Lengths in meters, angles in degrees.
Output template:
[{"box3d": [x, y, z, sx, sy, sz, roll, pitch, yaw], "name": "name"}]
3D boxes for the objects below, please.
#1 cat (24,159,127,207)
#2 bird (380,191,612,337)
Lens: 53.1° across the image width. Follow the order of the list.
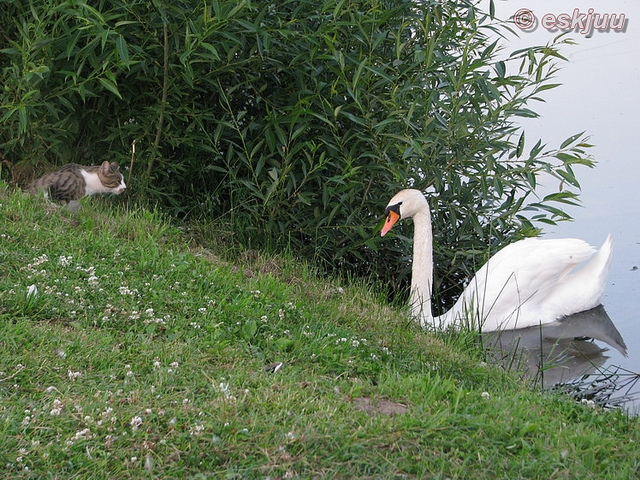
[{"box3d": [-2.572, -0.636, 6.942, 0.990, 0.550, 0.385, 12, -1, -45], "name": "cat"}, {"box3d": [2.120, 0.436, 7.263, 2.661, 1.584, 1.036, 13, 0, -17], "name": "bird"}]
